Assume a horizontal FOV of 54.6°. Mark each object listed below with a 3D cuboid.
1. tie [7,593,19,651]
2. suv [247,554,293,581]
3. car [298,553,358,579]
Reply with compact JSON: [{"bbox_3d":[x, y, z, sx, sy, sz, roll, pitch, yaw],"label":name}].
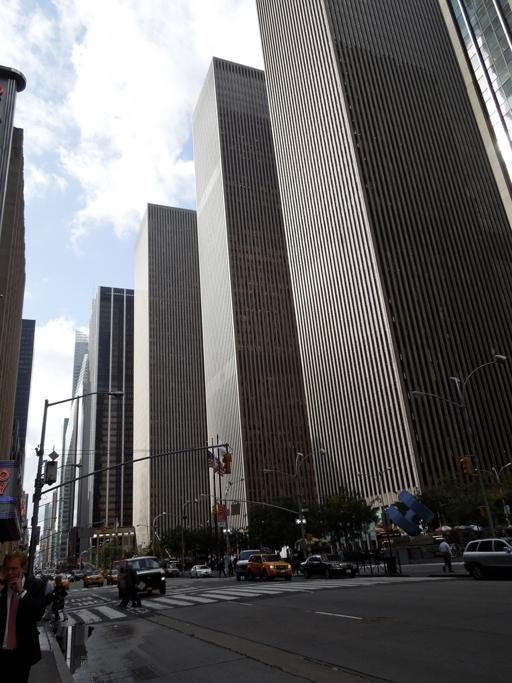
[{"bbox_3d":[-1.756,2.042,3.635,0.077,0.383,0.114,2,-20,-21],"label":"tie"},{"bbox_3d":[0.820,14.654,32.608,1.550,1.492,2.953,9,-34,-24],"label":"suv"},{"bbox_3d":[4.328,14.077,31.518,1.368,1.330,3.586,11,-31,-27],"label":"car"}]
